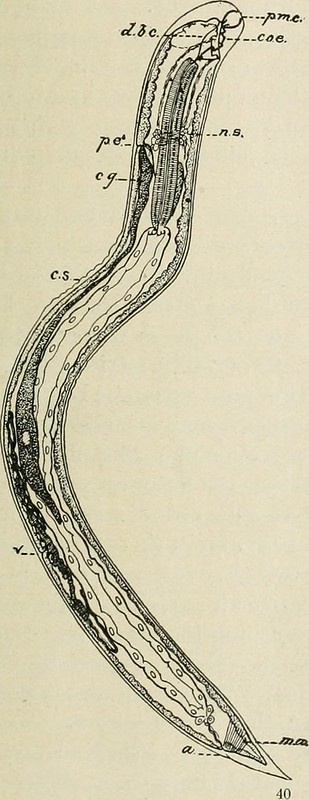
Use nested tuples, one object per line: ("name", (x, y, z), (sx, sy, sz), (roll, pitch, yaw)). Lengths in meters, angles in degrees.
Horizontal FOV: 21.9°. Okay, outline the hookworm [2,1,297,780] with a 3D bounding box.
("hookworm", (0.004, -0.081, 1.433), (0.522, 1.238, 0.359), (11, -17, 2))
